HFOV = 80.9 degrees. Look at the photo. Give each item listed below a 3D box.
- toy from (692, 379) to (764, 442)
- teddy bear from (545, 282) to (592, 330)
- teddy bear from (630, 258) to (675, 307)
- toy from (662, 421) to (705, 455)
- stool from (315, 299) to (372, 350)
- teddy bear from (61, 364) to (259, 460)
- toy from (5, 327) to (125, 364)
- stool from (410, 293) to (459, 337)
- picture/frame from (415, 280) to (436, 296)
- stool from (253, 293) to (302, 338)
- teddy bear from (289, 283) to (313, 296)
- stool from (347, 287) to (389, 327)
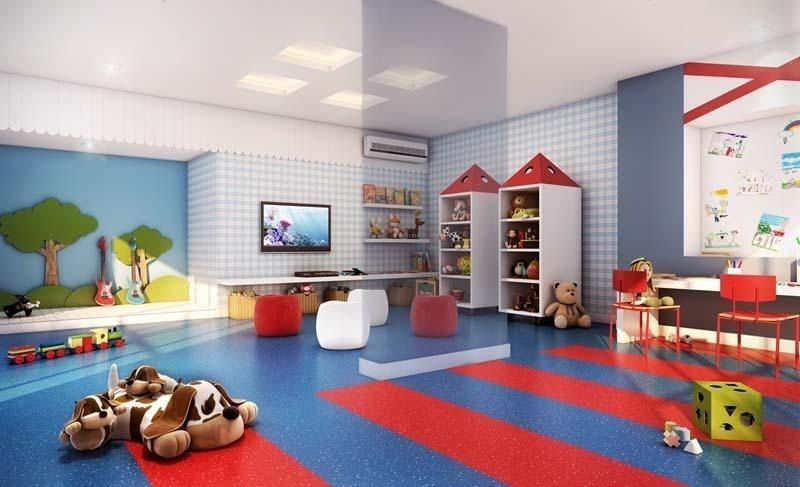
[{"bbox_3d":[3.108,1.561,4.498,0.529,0.495,0.538,0,1,27],"label":"toy"},{"bbox_3d":[2.883,1.068,8.071,0.783,0.750,0.554,2,1,-2],"label":"teddy bear"},{"bbox_3d":[3.694,0.590,6.896,0.447,0.657,0.584,-4,2,-17],"label":"teddy bear"},{"bbox_3d":[2.574,1.781,4.322,0.216,0.101,0.264,1,2,7],"label":"toy"},{"bbox_3d":[-0.843,1.178,6.695,0.713,0.574,0.701,-1,1,-40],"label":"stool"},{"bbox_3d":[-2.210,1.589,4.363,0.983,0.321,0.982,-2,-4,30],"label":"teddy bear"},{"bbox_3d":[-4.637,1.441,6.543,1.343,0.284,0.340,-9,13,-44],"label":"toy"},{"bbox_3d":[0.480,1.031,6.808,0.610,0.472,0.609,0,-2,23],"label":"stool"},{"bbox_3d":[0.560,0.971,10.238,0.296,0.367,0.511,-1,1,-42],"label":"picture/frame"},{"bbox_3d":[-1.923,1.123,7.480,0.677,0.560,0.678,0,-3,18],"label":"stool"},{"bbox_3d":[-1.986,0.932,9.426,0.518,0.191,0.333,-3,9,-14],"label":"teddy bear"},{"bbox_3d":[-0.462,1.091,7.683,0.643,0.641,0.687,1,-2,-34],"label":"stool"}]
